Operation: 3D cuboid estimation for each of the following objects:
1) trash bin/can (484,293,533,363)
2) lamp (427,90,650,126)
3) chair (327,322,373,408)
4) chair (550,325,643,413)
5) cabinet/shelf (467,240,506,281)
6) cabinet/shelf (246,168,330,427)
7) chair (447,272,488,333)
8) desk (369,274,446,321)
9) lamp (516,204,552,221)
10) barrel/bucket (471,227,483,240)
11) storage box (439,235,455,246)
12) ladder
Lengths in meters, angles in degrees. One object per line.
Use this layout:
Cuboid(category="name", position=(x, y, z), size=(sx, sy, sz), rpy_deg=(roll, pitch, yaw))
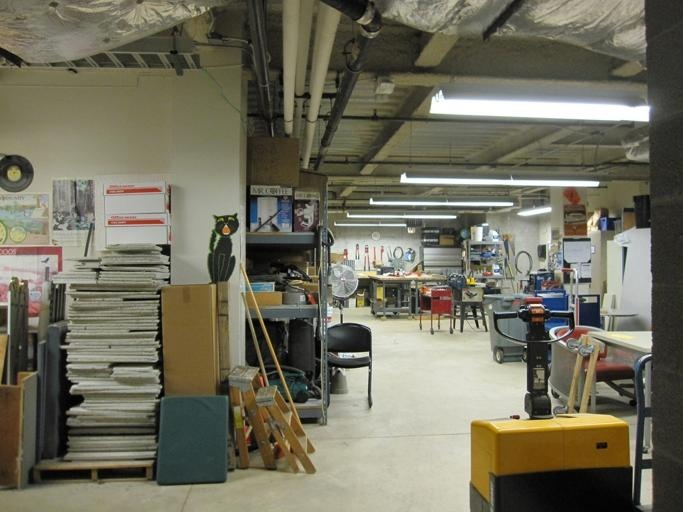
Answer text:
Cuboid(category="trash bin/can", position=(2.246, 0.977, 8.440), size=(0.545, 0.893, 0.922), rpy_deg=(1, 8, 13))
Cuboid(category="lamp", position=(1.715, -1.317, 5.331), size=(1.780, 0.273, 0.177), rpy_deg=(4, 7, 14))
Cuboid(category="chair", position=(0.083, 1.148, 6.384), size=(0.551, 0.796, 0.603), rpy_deg=(1, 4, 7))
Cuboid(category="chair", position=(2.489, 1.098, 6.082), size=(0.819, 0.683, 0.839), rpy_deg=(1, 6, -1))
Cuboid(category="cabinet/shelf", position=(3.301, 0.127, 14.207), size=(0.928, 0.820, 0.679), rpy_deg=(0, -2, -2))
Cuboid(category="cabinet/shelf", position=(-0.528, 0.437, 6.038), size=(0.900, 2.540, 2.656), rpy_deg=(-1, 0, -5))
Cuboid(category="chair", position=(2.291, 0.877, 10.847), size=(0.527, 0.855, 0.624), rpy_deg=(-1, -1, -5))
Cuboid(category="desk", position=(1.244, 0.817, 12.974), size=(1.030, 0.620, 1.305), rpy_deg=(-1, 2, -2))
Cuboid(category="lamp", position=(4.638, -1.038, 14.737), size=(0.680, 0.175, 0.645), rpy_deg=(-6, -2, 45))
Cuboid(category="barrel/bucket", position=(3.058, -0.493, 13.720), size=(0.252, 0.338, 0.367), rpy_deg=(1, 8, 12))
Cuboid(category="storage box", position=(2.997, -0.407, 17.218), size=(0.344, 0.257, 0.345), rpy_deg=(0, 3, -5))
Cuboid(category="ladder", position=(-0.603, 1.394, 5.206), size=(0.943, 0.967, 0.580), rpy_deg=(-2, -1, -1))
